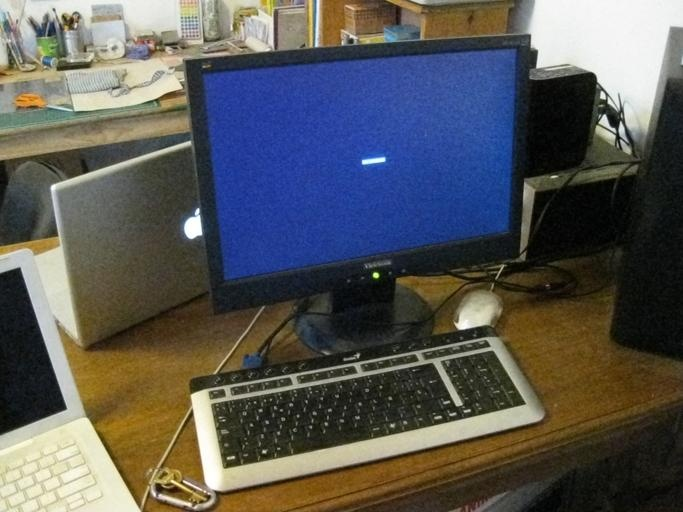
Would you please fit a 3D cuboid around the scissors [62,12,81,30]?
[{"bbox_3d":[-1.514,-1.333,3.277,0.094,0.035,0.149,2,71,-6],"label":"scissors"}]

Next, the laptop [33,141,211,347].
[{"bbox_3d":[-0.447,-0.007,1.210,0.362,0.327,0.290,-29,43,-30],"label":"laptop"}]

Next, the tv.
[{"bbox_3d":[0.032,-0.115,1.158,0.634,0.527,0.202,-11,29,-17],"label":"tv"}]

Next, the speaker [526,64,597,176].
[{"bbox_3d":[0.503,-0.354,1.476,0.261,0.232,0.139,-13,34,-20],"label":"speaker"}]

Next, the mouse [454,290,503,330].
[{"bbox_3d":[0.297,0.113,1.254,0.101,0.031,0.129,2,40,27],"label":"mouse"}]

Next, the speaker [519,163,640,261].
[{"bbox_3d":[0.556,-0.103,1.377,0.214,0.128,0.105,-12,34,-12],"label":"speaker"}]
